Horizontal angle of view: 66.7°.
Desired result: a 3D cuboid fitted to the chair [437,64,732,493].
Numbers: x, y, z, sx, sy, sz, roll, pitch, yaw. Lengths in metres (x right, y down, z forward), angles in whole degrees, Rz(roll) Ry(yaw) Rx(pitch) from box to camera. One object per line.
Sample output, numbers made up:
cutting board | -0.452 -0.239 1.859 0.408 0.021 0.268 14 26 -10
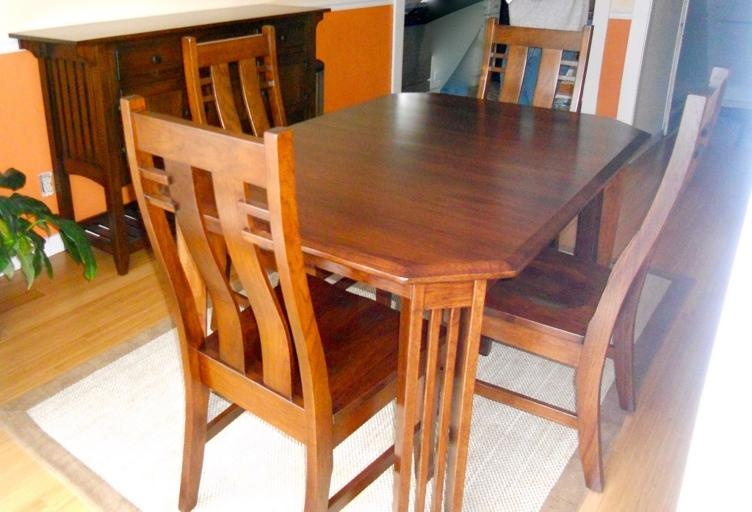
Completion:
chair | 0.679 0.086 1.901 0.522 1.279 0.667 15 31 25

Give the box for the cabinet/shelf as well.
cabinet/shelf | -0.902 -0.459 2.252 0.422 0.831 1.174 25 38 29

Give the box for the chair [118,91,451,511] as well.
chair | -0.273 0.204 1.653 0.867 1.264 0.531 12 30 21
